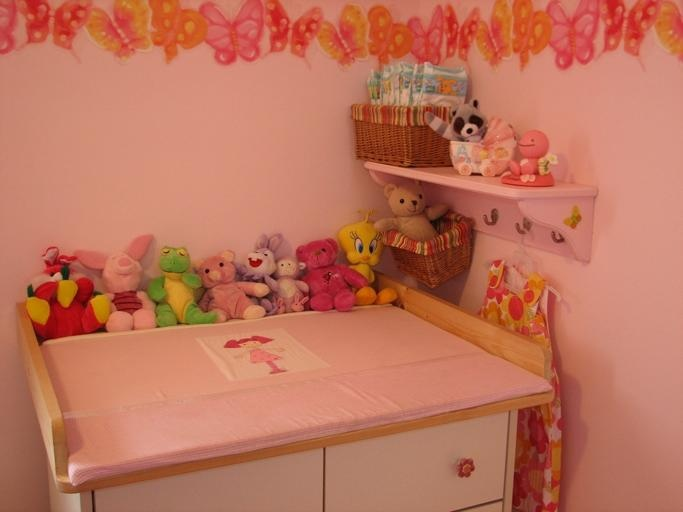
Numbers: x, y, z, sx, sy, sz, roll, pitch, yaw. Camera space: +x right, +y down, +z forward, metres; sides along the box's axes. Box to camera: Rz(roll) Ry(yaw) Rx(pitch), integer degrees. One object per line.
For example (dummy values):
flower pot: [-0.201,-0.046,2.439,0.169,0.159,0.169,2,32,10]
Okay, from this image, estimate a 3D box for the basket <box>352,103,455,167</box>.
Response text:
basket: [0.240,-0.514,2.216,0.278,0.205,0.401,-6,11,-30]

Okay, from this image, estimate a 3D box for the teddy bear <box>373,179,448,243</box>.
teddy bear: [0.335,-0.209,2.303,0.278,0.277,0.110,-9,3,-32]

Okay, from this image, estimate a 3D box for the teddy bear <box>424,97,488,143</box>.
teddy bear: [0.441,-0.519,1.910,0.231,0.152,0.093,4,14,11]

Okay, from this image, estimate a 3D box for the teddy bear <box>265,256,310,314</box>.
teddy bear: [-0.255,0.129,2.343,0.262,0.351,0.207,-1,-4,-14]
